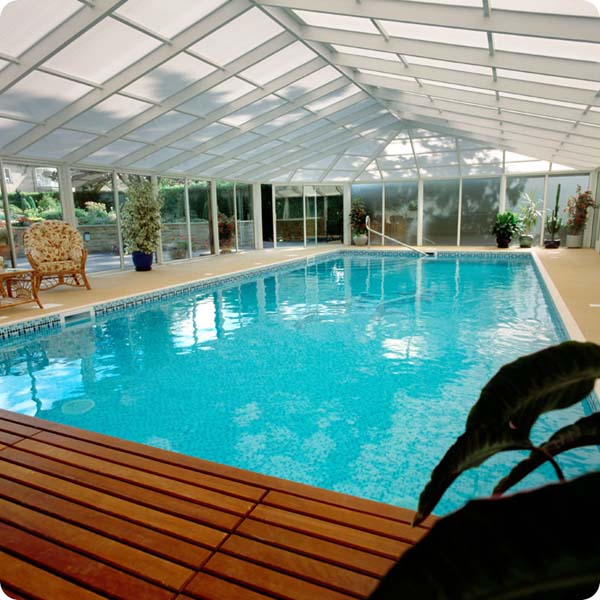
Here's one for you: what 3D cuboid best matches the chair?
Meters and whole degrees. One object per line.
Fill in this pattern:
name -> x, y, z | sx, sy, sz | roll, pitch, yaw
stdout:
chair -> -5.119, -0.962, 9.404 | 1.123, 1.212, 1.110 | -13, 25, -36

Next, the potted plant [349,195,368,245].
potted plant -> 2.837, -3.753, 21.679 | 0.874, 2.062, 0.707 | 4, 15, 22

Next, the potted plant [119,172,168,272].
potted plant -> -4.603, -2.249, 13.132 | 1.189, 2.712, 1.523 | -7, 14, -18

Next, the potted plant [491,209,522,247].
potted plant -> 8.521, -2.933, 18.537 | 1.024, 1.409, 1.216 | 3, 14, 22

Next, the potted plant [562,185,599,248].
potted plant -> 10.624, -3.187, 17.077 | 0.974, 2.316, 1.603 | 5, 15, 28

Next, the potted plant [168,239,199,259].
potted plant -> -4.118, -1.777, 15.780 | 0.711, 0.402, 1.036 | 0, 8, 23
